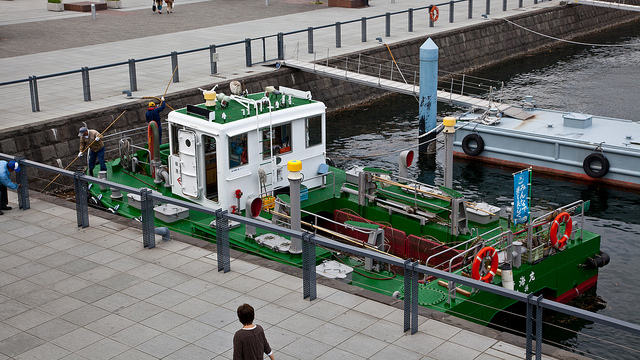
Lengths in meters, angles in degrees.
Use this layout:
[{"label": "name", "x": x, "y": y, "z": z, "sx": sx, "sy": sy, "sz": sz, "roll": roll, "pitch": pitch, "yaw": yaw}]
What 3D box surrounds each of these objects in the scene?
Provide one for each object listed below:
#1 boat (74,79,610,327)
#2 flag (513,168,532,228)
[{"label": "boat", "x": 0.184, "y": 1.893, "z": 26.161, "sx": 14.782, "sy": 4.560, "sz": 8.555, "roll": 17, "pitch": 25, "yaw": 24}, {"label": "flag", "x": 6.142, "y": 0.566, "z": 24.505, "sx": 0.970, "sy": 1.934, "sz": 0.049, "roll": -14, "pitch": 18, "yaw": -40}]
